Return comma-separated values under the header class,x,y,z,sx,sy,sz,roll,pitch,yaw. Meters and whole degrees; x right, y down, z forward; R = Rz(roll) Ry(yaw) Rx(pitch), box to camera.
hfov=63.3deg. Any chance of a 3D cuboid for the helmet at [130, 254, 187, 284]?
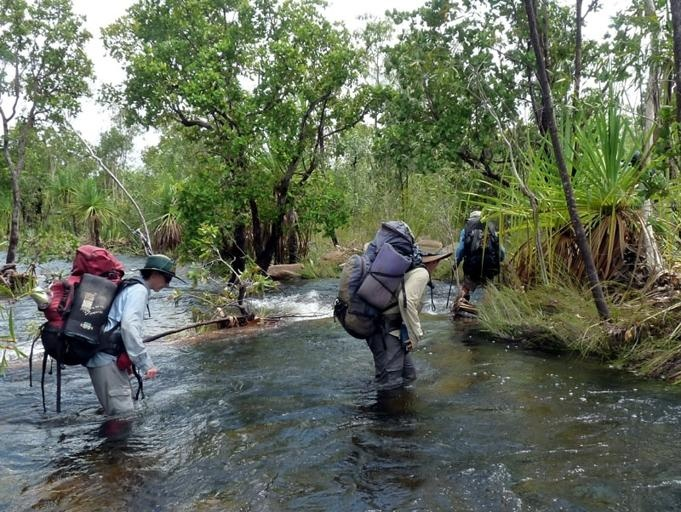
class,x,y,z,sx,sy,sz,roll,pitch,yaw
helmet,-2.188,0.122,6.703,0.611,0.257,0.520,17,-9,-19
